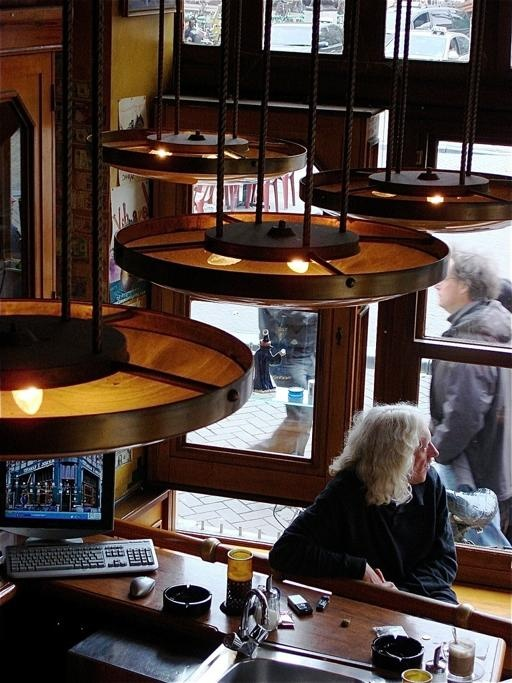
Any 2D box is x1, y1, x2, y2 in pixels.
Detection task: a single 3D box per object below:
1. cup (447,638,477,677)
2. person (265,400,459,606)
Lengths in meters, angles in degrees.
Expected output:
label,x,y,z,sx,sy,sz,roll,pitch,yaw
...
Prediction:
label,x,y,z,sx,sy,sz,roll,pitch,yaw
cup,0.598,0.948,1.990,0.072,0.090,0.105,-1,6,-2
person,0.465,0.667,2.705,0.872,0.759,0.450,-2,9,-27
